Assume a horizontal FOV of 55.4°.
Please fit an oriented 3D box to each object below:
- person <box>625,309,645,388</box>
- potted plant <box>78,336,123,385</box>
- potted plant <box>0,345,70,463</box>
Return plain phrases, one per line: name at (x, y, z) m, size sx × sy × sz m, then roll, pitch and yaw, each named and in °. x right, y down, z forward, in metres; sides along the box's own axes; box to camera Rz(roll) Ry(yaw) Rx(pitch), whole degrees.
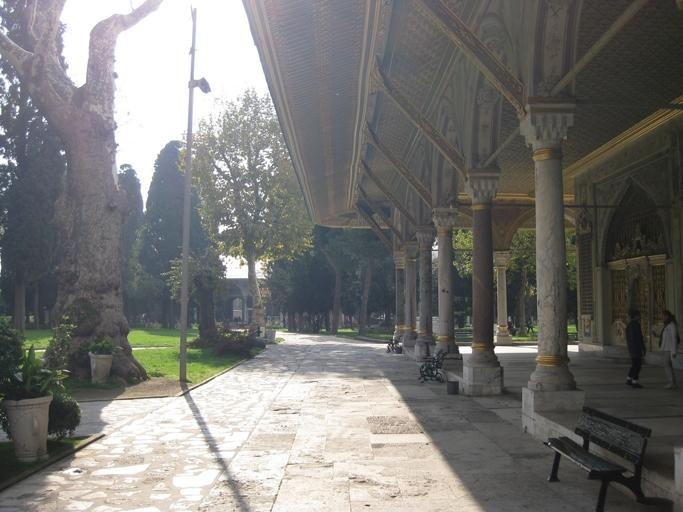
person at (7.212, 2.238, 16.111) m, size 0.428 × 1.886 × 1.427 m, roll -3°, pitch -7°, yaw 23°
potted plant at (-6.819, 3.006, 18.826) m, size 1.009 × 1.468 × 1.027 m, roll 0°, pitch -8°, yaw 5°
potted plant at (-5.516, 2.600, 11.561) m, size 0.824 × 1.933 × 0.598 m, roll 0°, pitch -6°, yaw 0°
